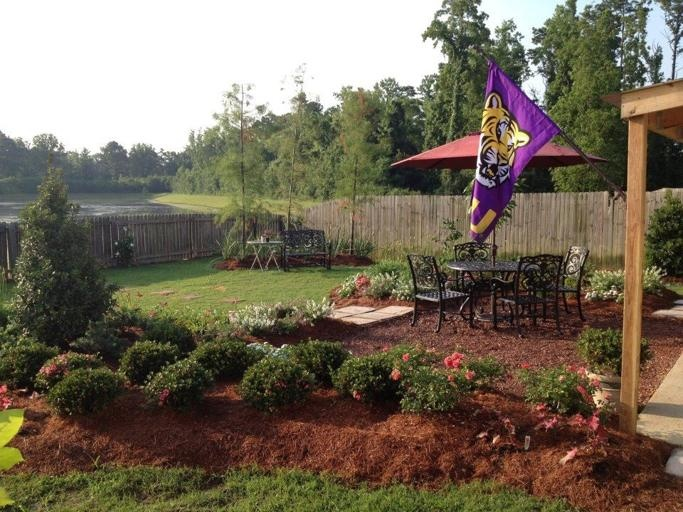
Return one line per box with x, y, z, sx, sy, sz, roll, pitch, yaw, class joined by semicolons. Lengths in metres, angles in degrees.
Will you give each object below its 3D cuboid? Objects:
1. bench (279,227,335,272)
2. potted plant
-0.981;-0.238;17.637;1.188;0.948;1.860;-3;4;-6;bench
2.885;1.049;7.049;0.629;0.983;0.837;0;6;2;potted plant
